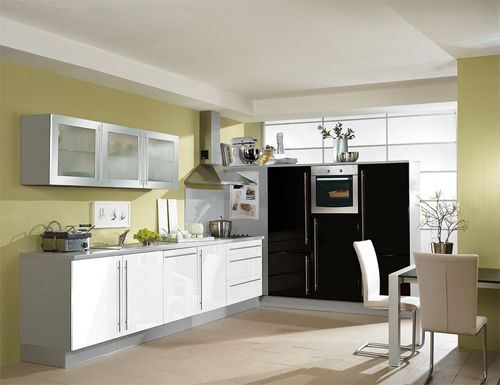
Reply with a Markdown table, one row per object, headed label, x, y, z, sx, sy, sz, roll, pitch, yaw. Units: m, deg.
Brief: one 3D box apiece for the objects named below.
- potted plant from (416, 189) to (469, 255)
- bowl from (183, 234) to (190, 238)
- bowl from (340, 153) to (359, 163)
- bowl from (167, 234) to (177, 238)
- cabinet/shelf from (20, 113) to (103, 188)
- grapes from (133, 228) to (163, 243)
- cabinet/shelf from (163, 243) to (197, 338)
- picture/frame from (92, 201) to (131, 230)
| label | x | y | z | sx | sy | sz | roll | pitch | yaw |
| --- | --- | --- | --- | --- | --- | --- | --- | --- | --- |
| potted plant | 2.310 | 0.409 | 4.843 | 0.587 | 0.710 | 0.487 | -3 | -13 | -6 |
| bowl | -0.829 | 0.581 | 5.277 | 0.069 | 0.052 | 0.151 | 0 | 0 | 21 |
| bowl | 1.522 | -0.545 | 6.083 | 0.199 | 0.104 | 0.194 | -2 | 4 | 0 |
| bowl | -1.018 | 0.582 | 5.181 | 0.115 | 0.059 | 0.174 | 0 | 0 | -21 |
| cabinet/shelf | -2.003 | -0.398 | 4.191 | 0.406 | 0.708 | 0.765 | 2 | 1 | 17 |
| grapes | -1.253 | 0.533 | 4.839 | 0.262 | 0.132 | 0.237 | 0 | 0 | 22 |
| cabinet/shelf | -0.878 | 1.081 | 5.037 | 0.473 | 0.429 | 0.606 | -8 | 45 | -6 |
| picture/frame | -1.680 | 0.280 | 4.837 | 0.574 | 0.333 | 0.051 | -1 | -2 | 16 |
